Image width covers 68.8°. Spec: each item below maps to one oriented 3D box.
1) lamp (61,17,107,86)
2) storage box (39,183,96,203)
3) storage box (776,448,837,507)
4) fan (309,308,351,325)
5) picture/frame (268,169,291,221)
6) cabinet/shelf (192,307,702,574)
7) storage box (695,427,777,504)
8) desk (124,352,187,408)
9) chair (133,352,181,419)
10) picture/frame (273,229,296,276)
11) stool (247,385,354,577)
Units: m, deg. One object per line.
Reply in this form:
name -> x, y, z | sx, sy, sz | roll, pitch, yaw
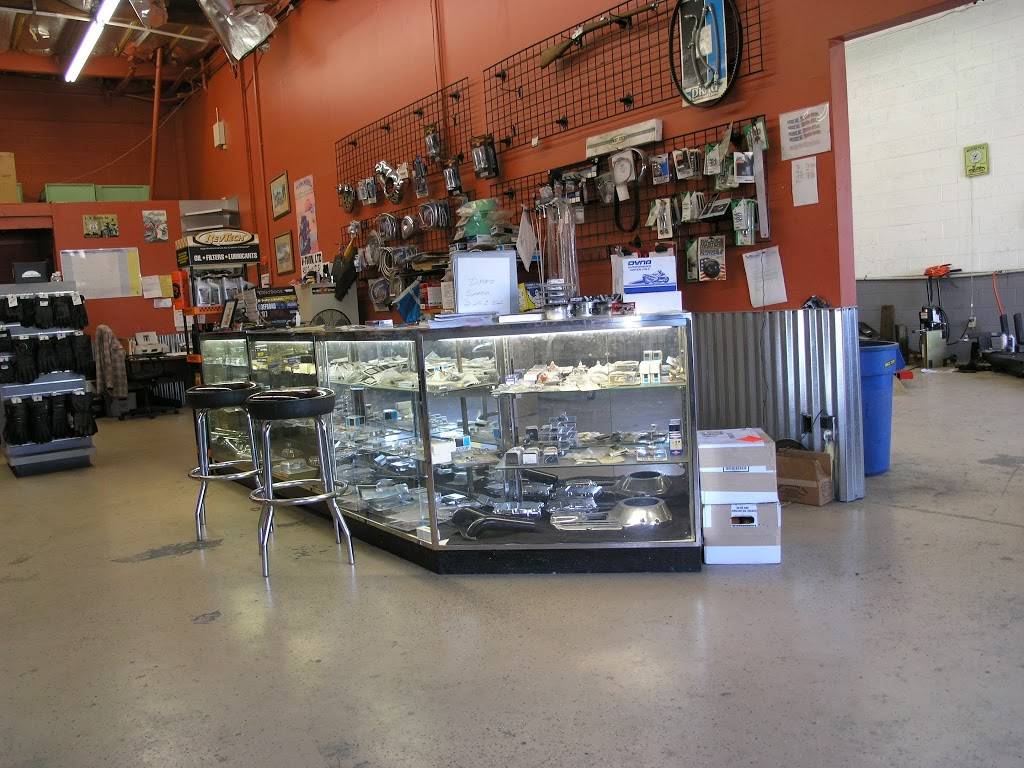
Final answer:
lamp -> -5.874, -4.926, 10.469 | 0.214, 0.812, 4.778 | 6, 24, -30
storage box -> -6.754, -2.942, 11.439 | 0.738, 0.367, 0.485 | -3, 0, -28
storage box -> 1.777, 0.572, 4.671 | 0.147, 0.295, 0.366 | -10, 7, -37
fan -> -1.907, -0.702, 7.797 | 0.273, 0.120, 0.261 | -2, 1, -3
picture/frame -> -3.045, -2.516, 9.816 | 0.031, 0.564, 0.800 | -1, 4, -32
cabinet/shelf -> -0.641, 0.660, 4.928 | 3.620, 1.535, 1.383 | -15, -24, 33
storage box -> 1.141, 0.426, 3.949 | 0.382, 0.220, 0.368 | 0, 8, 4
desk -> -5.120, 0.030, 10.712 | 0.967, 0.788, 0.782 | 7, -2, -26
chair -> -5.117, 0.034, 10.492 | 0.924, 0.780, 0.811 | 2, -9, -39
picture/frame -> -3.027, -1.787, 9.951 | 0.035, 0.538, 0.693 | -2, 5, -30
stool -> -1.291, 0.557, 4.479 | 0.741, 0.989, 0.700 | -5, 2, -3
